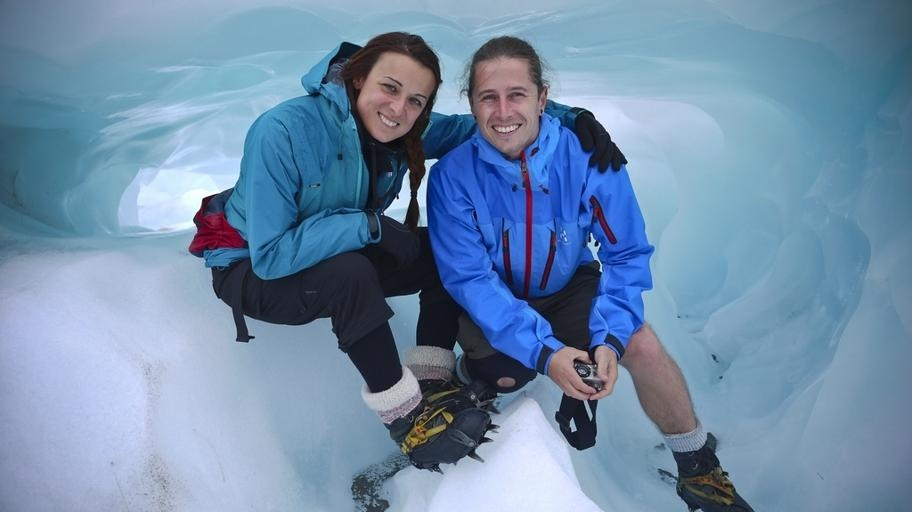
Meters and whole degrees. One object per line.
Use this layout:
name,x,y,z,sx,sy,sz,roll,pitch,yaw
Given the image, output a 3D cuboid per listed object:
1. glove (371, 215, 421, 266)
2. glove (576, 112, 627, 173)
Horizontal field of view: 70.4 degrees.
glove,-0.391,-0.104,4.161,0.295,0.262,0.101,-27,34,33
glove,0.874,-0.740,4.094,0.277,0.387,0.121,-24,-12,-14
